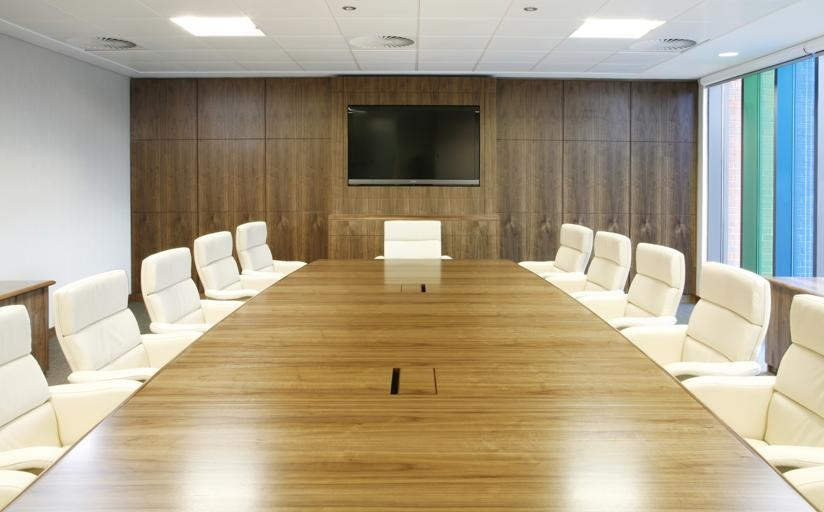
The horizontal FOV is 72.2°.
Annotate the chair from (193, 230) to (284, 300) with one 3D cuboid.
[{"bbox_3d":[-1.651,0.219,5.265,0.707,0.718,0.648,6,13,-14],"label":"chair"}]

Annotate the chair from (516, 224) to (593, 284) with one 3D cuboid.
[{"bbox_3d":[1.626,-0.086,5.986,0.708,0.750,0.734,-2,7,-14],"label":"chair"}]

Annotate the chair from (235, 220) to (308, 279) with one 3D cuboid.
[{"bbox_3d":[-1.630,-0.071,6.026,0.722,0.786,0.708,1,5,15],"label":"chair"}]

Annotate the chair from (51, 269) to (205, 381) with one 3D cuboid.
[{"bbox_3d":[-1.765,0.616,3.691,0.836,0.839,0.784,7,15,-4],"label":"chair"}]

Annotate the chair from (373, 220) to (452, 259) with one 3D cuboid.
[{"bbox_3d":[0.011,-0.228,6.175,0.588,0.621,0.535,-1,0,0],"label":"chair"}]
